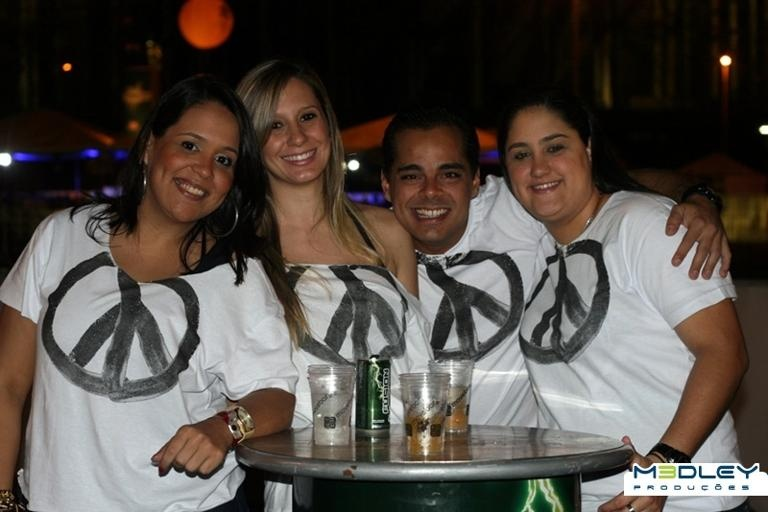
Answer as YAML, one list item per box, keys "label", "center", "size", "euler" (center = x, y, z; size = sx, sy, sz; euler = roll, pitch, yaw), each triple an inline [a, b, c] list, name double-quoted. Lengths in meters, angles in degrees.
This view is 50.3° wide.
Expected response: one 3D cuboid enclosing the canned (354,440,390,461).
- label: "canned"
  center: [-0.053, 0.809, 3.408]
  size: [0.057, 0.070, 0.059]
  euler: [2, 4, 30]
